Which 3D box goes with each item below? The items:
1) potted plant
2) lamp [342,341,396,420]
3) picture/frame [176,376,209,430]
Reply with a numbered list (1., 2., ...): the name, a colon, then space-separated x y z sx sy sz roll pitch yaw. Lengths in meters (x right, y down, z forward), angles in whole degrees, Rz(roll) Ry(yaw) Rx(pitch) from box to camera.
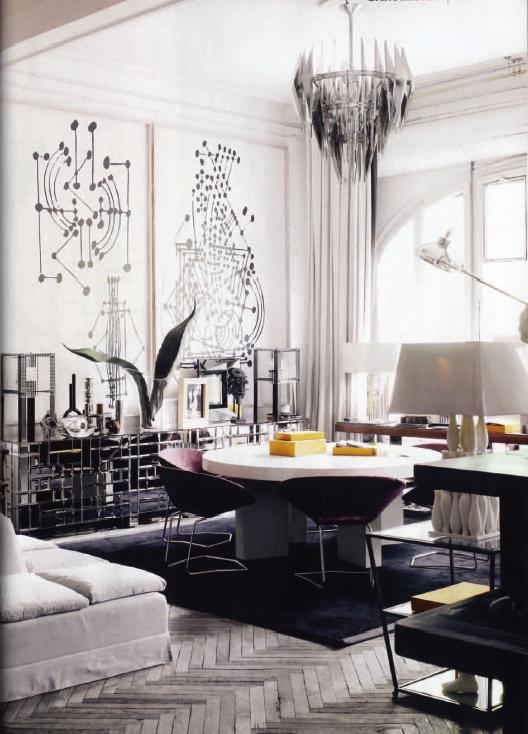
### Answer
1. potted plant: -1.098 -0.093 5.604 0.780 0.923 0.889 -4 1 -20
2. lamp: 0.968 0.117 6.350 0.492 1.151 0.604 1 -2 0
3. picture/frame: -0.611 0.315 5.821 0.068 0.562 0.317 -3 -4 36
